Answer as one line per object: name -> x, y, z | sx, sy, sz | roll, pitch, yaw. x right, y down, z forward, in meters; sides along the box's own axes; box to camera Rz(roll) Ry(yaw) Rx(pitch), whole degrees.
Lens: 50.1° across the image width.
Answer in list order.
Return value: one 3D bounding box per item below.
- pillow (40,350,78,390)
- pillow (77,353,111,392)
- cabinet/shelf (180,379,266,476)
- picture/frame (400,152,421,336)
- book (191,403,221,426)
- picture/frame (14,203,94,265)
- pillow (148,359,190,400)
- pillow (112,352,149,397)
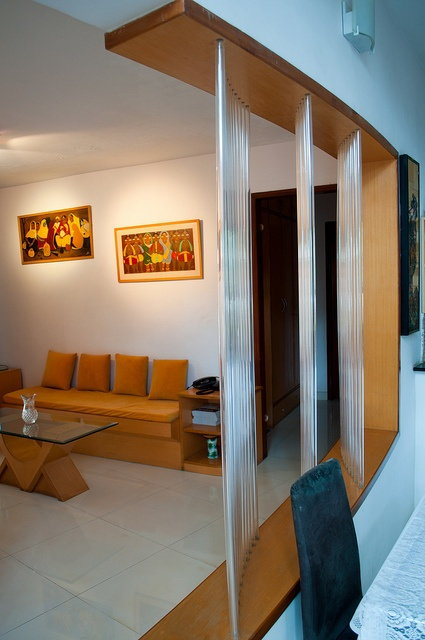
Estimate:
pillow -> -1.775, 0.581, 5.222 | 0.415, 0.407, 0.218 | 7, 13, 24
pillow -> -1.265, 0.588, 4.883 | 0.346, 0.342, 0.127 | -4, -12, 33
cabinet/shelf -> 0.105, 0.905, 3.899 | 0.614, 0.795, 0.616 | 5, 7, 18
picture/frame -> 1.399, -0.513, 3.170 | 0.158, 1.260, 0.625 | -3, 0, 25
book -> -0.023, 0.805, 3.804 | 0.263, 0.166, 0.191 | -3, 0, 27
picture/frame -> -1.827, -0.963, 5.250 | 1.231, 0.624, 0.062 | -3, -1, 31
pillow -> -0.420, 0.595, 4.390 | 0.343, 0.409, 0.136 | 5, -9, -4
pillow -> -0.838, 0.580, 4.676 | 0.407, 0.429, 0.153 | 2, -4, 16
